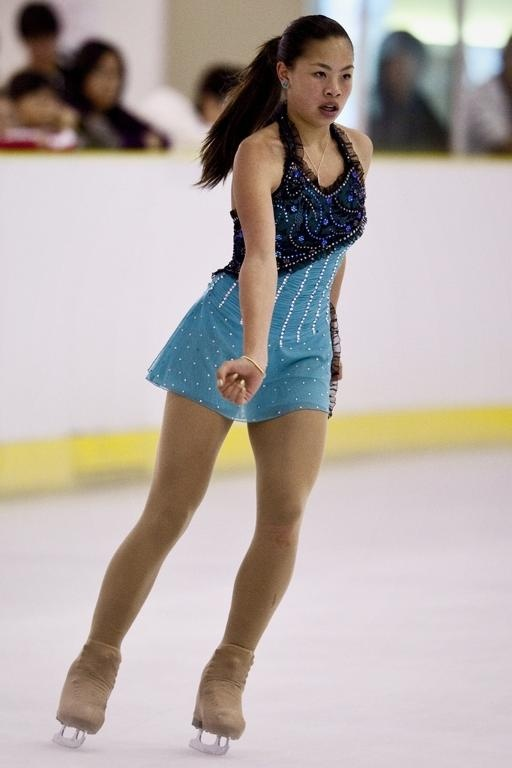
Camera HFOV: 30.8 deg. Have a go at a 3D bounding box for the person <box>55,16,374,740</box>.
[{"bbox_3d":[-0.051,-0.006,1.752,0.504,1.348,0.710,4,5,33],"label":"person"}]

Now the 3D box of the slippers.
[{"bbox_3d":[-0.302,0.536,1.662,0.073,0.096,0.209,20,3,-5],"label":"slippers"}]

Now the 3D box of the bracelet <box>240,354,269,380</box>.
[{"bbox_3d":[-0.006,-0.024,1.392,0.033,0.032,0.038,1,4,-1],"label":"bracelet"}]

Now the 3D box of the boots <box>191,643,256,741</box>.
[{"bbox_3d":[-0.056,0.538,1.630,0.087,0.145,0.108,1,4,2],"label":"boots"}]
